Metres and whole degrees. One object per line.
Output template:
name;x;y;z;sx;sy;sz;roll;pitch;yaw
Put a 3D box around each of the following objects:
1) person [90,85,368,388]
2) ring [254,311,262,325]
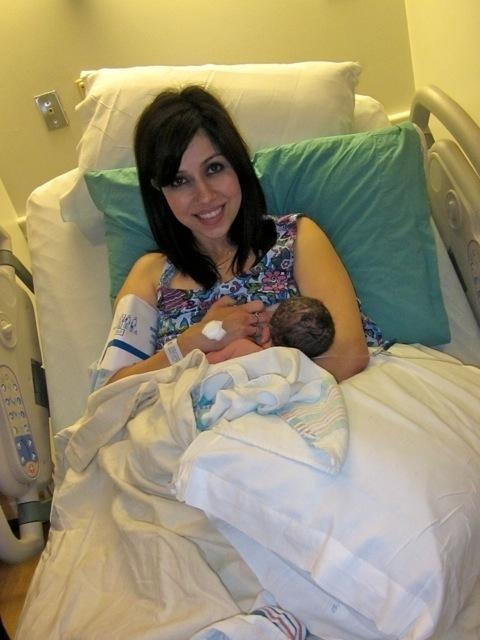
person;-0.038;-0.216;1.593;0.765;0.956;0.347;-15;-15;11
ring;0.050;-0.006;1.319;0.009;0.025;0.018;8;6;18
